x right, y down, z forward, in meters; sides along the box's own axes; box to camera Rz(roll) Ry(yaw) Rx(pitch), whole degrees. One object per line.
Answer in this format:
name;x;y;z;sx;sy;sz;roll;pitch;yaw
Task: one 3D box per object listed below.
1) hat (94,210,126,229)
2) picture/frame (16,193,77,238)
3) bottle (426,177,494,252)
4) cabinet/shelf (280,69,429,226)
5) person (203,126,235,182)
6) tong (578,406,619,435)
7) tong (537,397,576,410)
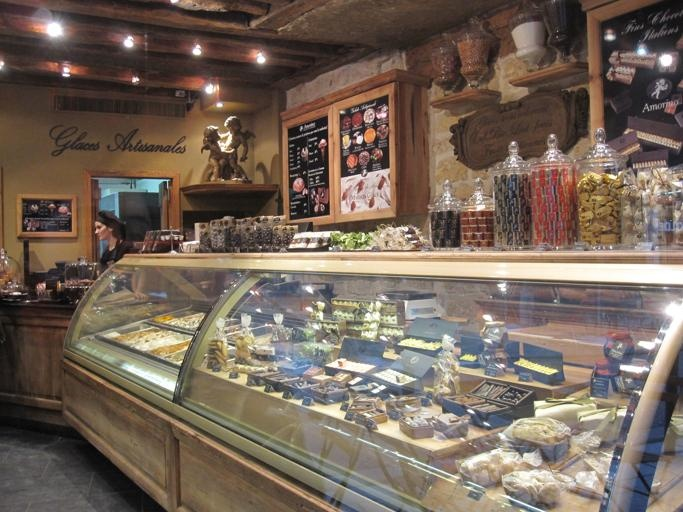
hat;-2.322;-0.371;4.888;0.208;0.099;0.240;14;2;38
picture/frame;-3.900;-0.555;6.337;0.715;0.513;0.092;0;4;-12
bottle;0.459;-0.151;1.955;0.320;0.277;0.293;-1;-1;43
cabinet/shelf;0.156;-1.047;4.795;0.495;1.379;2.189;2;-4;-38
person;-1.687;-1.350;6.433;0.347;0.721;0.529;-3;0;-44
tong;0.720;0.455;1.370;0.036;0.058;0.091;9;-22;-44
tong;0.631;0.437;1.440;0.103;0.029;0.009;-2;0;17
